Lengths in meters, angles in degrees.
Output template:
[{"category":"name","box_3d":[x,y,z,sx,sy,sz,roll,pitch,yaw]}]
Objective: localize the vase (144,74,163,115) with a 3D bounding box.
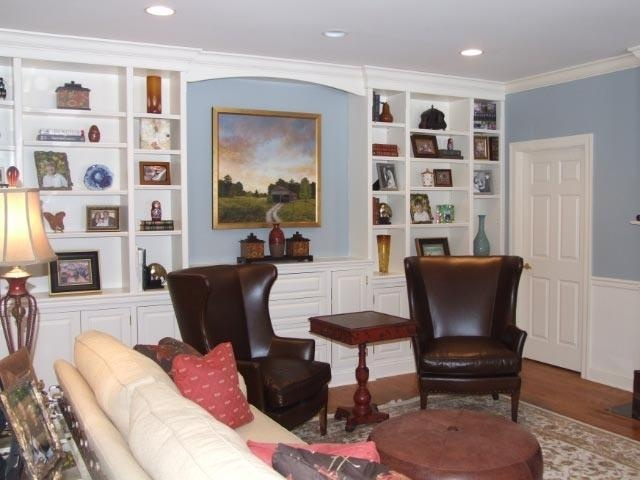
[{"category":"vase","box_3d":[-1.492,-1.298,4.337,0.136,0.315,0.132,1,9,-9]}]

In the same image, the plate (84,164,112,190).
[{"category":"plate","box_3d":[-1.955,-0.549,4.221,0.260,0.224,0.132,-3,5,-7]}]

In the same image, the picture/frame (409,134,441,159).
[{"category":"picture/frame","box_3d":[1.175,-1.059,5.441,0.329,0.274,0.149,-6,6,-33]}]

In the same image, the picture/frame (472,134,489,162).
[{"category":"picture/frame","box_3d":[1.861,-1.070,5.673,0.349,0.339,0.036,3,0,-28]}]

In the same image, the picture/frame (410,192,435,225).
[{"category":"picture/frame","box_3d":[1.133,-0.351,5.486,0.382,0.412,0.056,8,-21,-39]}]

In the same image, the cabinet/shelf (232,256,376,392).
[{"category":"cabinet/shelf","box_3d":[-0.178,0.707,4.124,1.349,1.255,0.506,0,0,-30]}]

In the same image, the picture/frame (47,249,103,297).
[{"category":"picture/frame","box_3d":[-2.056,0.286,4.035,0.405,0.376,0.029,-1,-7,-25]}]

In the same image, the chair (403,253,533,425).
[{"category":"chair","box_3d":[1.234,0.809,4.176,1.084,1.209,1.158,-3,2,-32]}]

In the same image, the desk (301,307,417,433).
[{"category":"desk","box_3d":[0.326,1.092,4.004,0.779,0.779,0.770,1,-8,-15]}]

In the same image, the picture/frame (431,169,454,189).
[{"category":"picture/frame","box_3d":[1.394,-0.705,5.616,0.272,0.225,0.026,3,-14,-29]}]

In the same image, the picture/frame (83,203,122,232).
[{"category":"picture/frame","box_3d":[-1.906,-0.189,4.216,0.249,0.222,0.025,4,-9,-26]}]

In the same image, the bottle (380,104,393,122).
[{"category":"bottle","box_3d":[0.702,-1.365,5.232,0.139,0.222,0.200,-2,5,9]}]

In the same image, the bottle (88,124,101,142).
[{"category":"bottle","box_3d":[-1.956,-0.915,4.186,0.102,0.175,0.251,-5,5,-22]}]

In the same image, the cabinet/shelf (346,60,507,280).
[{"category":"cabinet/shelf","box_3d":[1.100,-0.807,5.283,2.262,2.679,0.615,-1,1,-24]}]

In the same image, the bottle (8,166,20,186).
[{"category":"bottle","box_3d":[-1.830,-0.376,2.883,0.051,0.134,0.331,-6,6,-32]}]

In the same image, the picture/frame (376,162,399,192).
[{"category":"picture/frame","box_3d":[0.731,-0.699,5.305,0.240,0.297,0.155,-7,7,-44]}]

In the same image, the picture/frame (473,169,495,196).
[{"category":"picture/frame","box_3d":[1.941,-0.678,5.780,0.309,0.289,0.029,-10,2,-34]}]

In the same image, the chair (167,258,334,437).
[{"category":"chair","box_3d":[-0.535,0.836,3.596,1.112,1.176,1.150,1,3,-33]}]

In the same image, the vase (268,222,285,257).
[{"category":"vase","box_3d":[-0.444,-0.002,4.835,0.162,0.327,0.258,-3,5,-5]}]

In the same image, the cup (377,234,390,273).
[{"category":"cup","box_3d":[0.686,0.149,5.277,0.131,0.420,0.200,-2,5,6]}]
